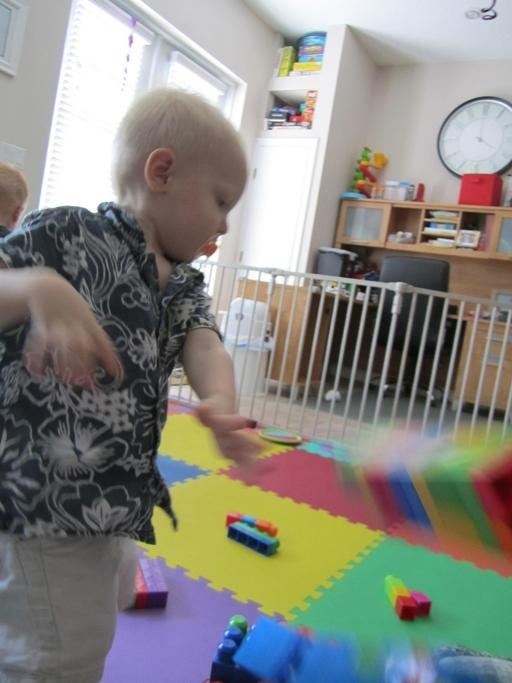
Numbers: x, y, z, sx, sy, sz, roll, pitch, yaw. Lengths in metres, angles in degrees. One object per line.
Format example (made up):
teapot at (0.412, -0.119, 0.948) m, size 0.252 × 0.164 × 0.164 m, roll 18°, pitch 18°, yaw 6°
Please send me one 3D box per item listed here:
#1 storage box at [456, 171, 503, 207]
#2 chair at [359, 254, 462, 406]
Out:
storage box at (1.904, -1.294, 4.613) m, size 0.333 × 0.319 × 0.327 m, roll 6°, pitch 9°, yaw 21°
chair at (1.171, -0.067, 4.210) m, size 0.719 × 1.099 × 0.739 m, roll 3°, pitch -16°, yaw 36°
